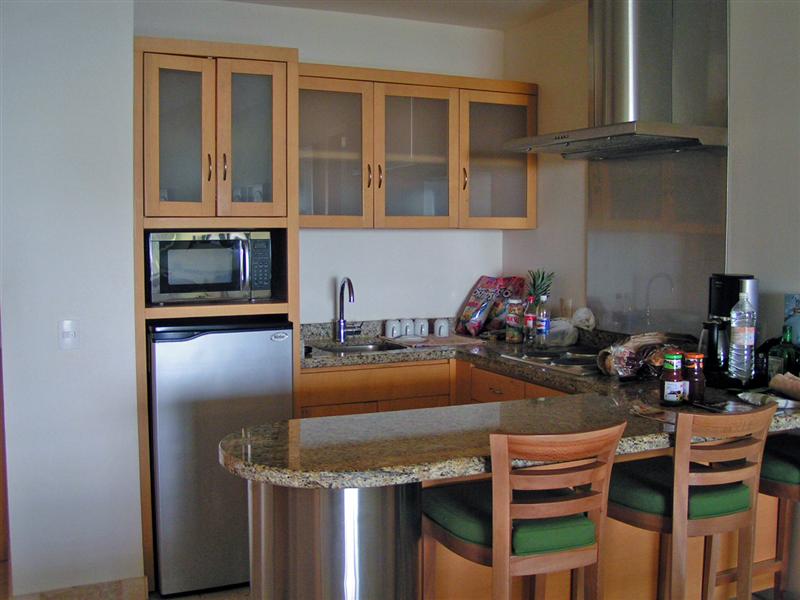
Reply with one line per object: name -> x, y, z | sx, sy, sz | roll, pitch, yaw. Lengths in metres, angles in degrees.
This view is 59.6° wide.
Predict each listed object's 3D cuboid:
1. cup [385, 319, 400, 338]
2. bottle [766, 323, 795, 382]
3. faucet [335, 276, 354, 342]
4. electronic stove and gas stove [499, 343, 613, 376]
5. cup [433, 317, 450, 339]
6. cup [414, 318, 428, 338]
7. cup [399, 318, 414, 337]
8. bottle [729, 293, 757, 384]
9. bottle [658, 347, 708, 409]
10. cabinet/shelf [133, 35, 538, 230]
cup -> -0.043, 0.192, 4.766 | 0.119, 0.118, 0.113 | 0, 7, 0
bottle -> 1.691, 0.227, 3.078 | 0.110, 0.237, 0.235 | 0, 5, 29
faucet -> -0.349, 0.062, 4.494 | 0.144, 0.419, 0.319 | -3, 4, -5
electronic stove and gas stove -> 0.842, 0.294, 3.774 | 0.453, 0.091, 0.805 | -5, 5, -32
cup -> 0.291, 0.191, 4.790 | 0.125, 0.151, 0.114 | 1, 8, 0
cup -> 0.151, 0.181, 4.768 | 0.096, 0.122, 0.144 | -2, 4, 2
cup -> 0.055, 0.183, 4.740 | 0.096, 0.113, 0.059 | -2, 4, -2
bottle -> 1.535, 0.166, 3.116 | 0.104, 0.396, 0.136 | 0, 5, 28
bottle -> 1.183, 0.332, 2.902 | 0.250, 0.295, 0.134 | -1, 1, -26
cabinet/shelf -> -0.291, -0.899, 4.071 | 2.422, 0.983, 0.374 | -4, 5, -26
